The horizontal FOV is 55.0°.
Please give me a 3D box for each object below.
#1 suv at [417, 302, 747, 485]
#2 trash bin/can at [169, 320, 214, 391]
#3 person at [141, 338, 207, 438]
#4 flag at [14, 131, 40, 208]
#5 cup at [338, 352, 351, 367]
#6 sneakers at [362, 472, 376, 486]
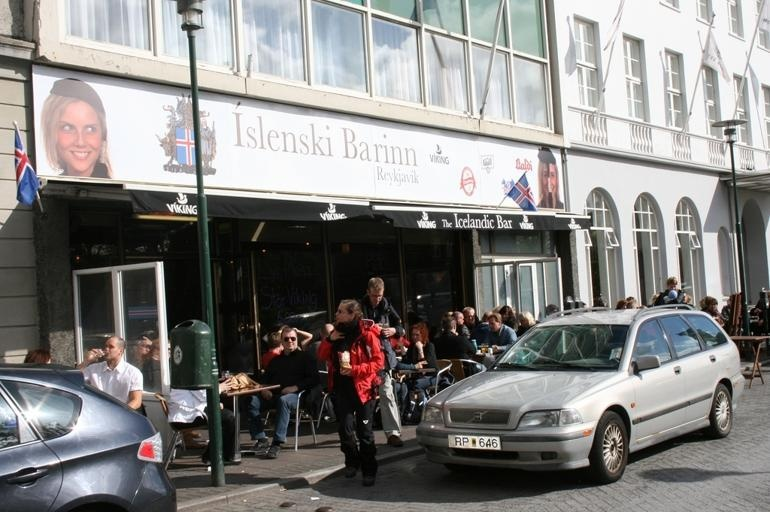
[{"bbox_3d":[2.890,1.912,10.667,4.820,2.170,1.816,-2,-4,-32],"label":"suv"},{"bbox_3d":[-2.664,1.350,10.098,0.614,0.941,0.342,-4,-4,-7],"label":"trash bin/can"},{"bbox_3d":[-3.267,2.068,11.711,0.831,1.580,0.828,16,-21,-28],"label":"person"},{"bbox_3d":[-5.708,-1.437,11.737,0.357,1.260,0.531,-2,-4,-27],"label":"flag"},{"bbox_3d":[-0.563,1.424,10.197,0.166,0.301,0.172,-5,-3,0],"label":"cup"},{"bbox_3d":[-0.234,3.036,10.115,0.175,0.180,0.143,-4,-4,-3],"label":"sneakers"}]
